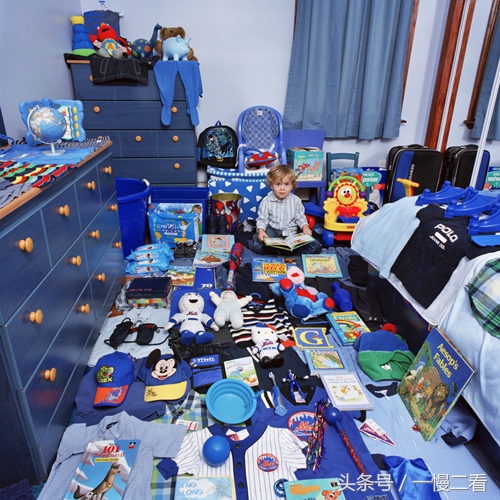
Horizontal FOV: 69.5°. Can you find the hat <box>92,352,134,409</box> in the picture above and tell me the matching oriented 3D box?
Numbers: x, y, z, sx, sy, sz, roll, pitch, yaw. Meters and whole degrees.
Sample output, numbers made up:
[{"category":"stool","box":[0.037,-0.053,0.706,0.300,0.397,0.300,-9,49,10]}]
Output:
[{"category":"hat","box":[-0.592,0.548,1.533,0.134,0.072,0.198,6,35,-8]}]

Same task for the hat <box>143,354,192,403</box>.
[{"category":"hat","box":[-0.370,0.562,1.579,0.213,0.058,0.231,-4,27,-10]}]

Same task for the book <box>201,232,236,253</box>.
[{"category":"book","box":[-0.263,-0.057,2.837,0.290,0.014,0.177,2,37,-2]}]

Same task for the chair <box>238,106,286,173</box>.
[{"category":"chair","box":[0.106,-1.047,3.348,0.458,0.513,0.489,-1,28,-2]}]

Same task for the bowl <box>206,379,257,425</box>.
[{"category":"bowl","box":[-0.082,0.610,1.453,0.197,0.058,0.202,0,27,0]}]

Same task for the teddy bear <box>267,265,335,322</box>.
[{"category":"teddy bear","box":[0.323,0.224,2.107,0.372,0.267,0.340,-5,28,-10]}]

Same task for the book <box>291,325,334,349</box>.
[{"category":"book","box":[0.321,0.462,1.888,0.197,0.031,0.176,-3,27,-8]}]

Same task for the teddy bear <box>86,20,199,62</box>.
[{"category":"teddy bear","box":[-0.909,-1.648,3.038,0.839,0.307,0.442,1,30,-6]}]

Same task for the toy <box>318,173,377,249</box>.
[{"category":"toy","box":[0.772,-0.340,3.013,0.547,0.704,0.576,-1,12,0]}]

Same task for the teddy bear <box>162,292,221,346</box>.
[{"category":"teddy bear","box":[-0.303,0.361,1.864,0.220,0.079,0.241,0,34,-10]}]

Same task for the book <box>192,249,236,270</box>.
[{"category":"book","box":[-0.285,0.062,2.658,0.260,0.024,0.269,1,27,1]}]

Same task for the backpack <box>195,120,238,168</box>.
[{"category":"backpack","box":[-0.313,-0.969,3.382,0.374,0.430,0.167,-2,8,-5]}]

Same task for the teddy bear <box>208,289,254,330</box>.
[{"category":"teddy bear","box":[-0.122,0.313,1.989,0.194,0.077,0.202,1,30,-3]}]
